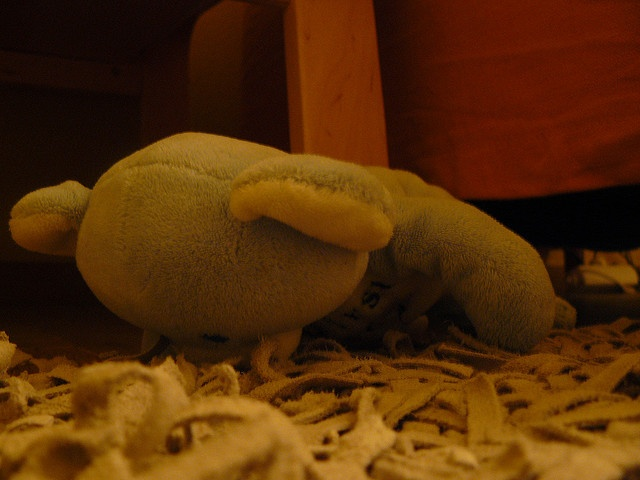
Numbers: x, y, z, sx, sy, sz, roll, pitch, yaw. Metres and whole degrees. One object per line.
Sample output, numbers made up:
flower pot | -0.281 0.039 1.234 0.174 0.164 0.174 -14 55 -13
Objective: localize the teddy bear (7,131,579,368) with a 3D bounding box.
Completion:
teddy bear | -0.023 0.013 1.306 0.643 0.243 0.555 4 -5 -43
